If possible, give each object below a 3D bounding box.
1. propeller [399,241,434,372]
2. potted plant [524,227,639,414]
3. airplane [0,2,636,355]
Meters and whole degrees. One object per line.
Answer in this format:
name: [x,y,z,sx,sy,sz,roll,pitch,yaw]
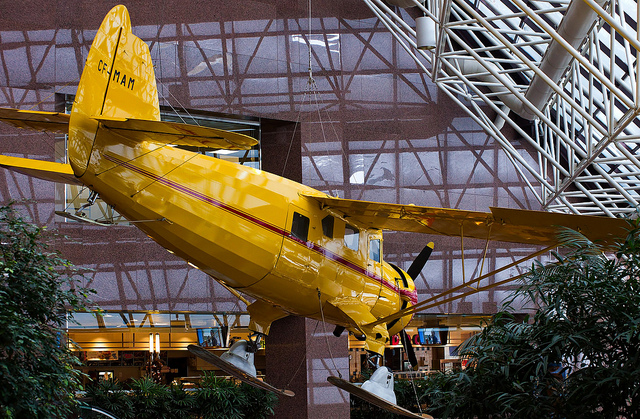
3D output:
propeller: [1.722,1.900,21.751,0.080,3.135,0.513,-6,-40,40]
potted plant: [4.740,1.939,19.194,1.762,3.401,1.094,-11,-24,20]
airplane: [-1.025,-0.041,19.728,10.515,3.395,7.865,-1,-14,45]
